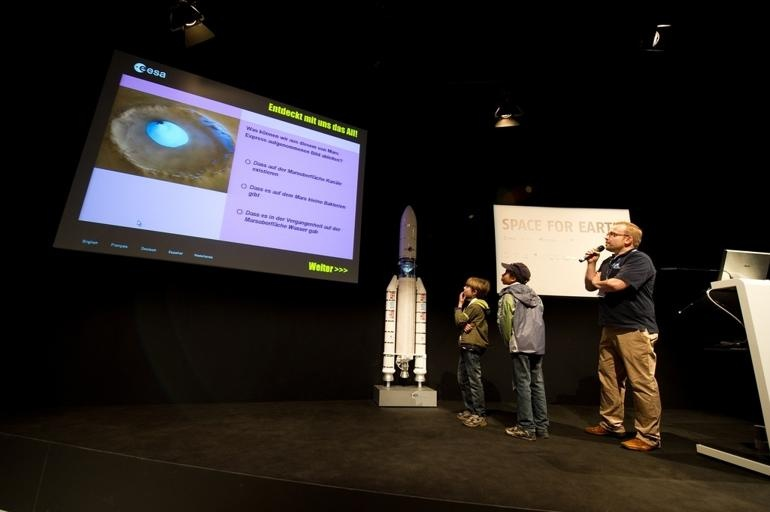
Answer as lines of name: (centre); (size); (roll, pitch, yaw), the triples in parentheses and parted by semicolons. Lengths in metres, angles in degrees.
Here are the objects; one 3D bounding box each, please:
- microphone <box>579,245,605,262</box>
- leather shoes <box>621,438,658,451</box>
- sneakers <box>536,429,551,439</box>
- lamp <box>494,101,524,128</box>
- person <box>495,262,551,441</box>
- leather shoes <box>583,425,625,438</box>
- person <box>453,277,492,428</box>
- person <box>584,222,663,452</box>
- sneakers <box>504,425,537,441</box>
microphone: (2.674, -0.037, 6.849); (0.330, 0.084, 0.085); (-31, 4, 10)
leather shoes: (2.746, 2.033, 5.756); (0.384, 0.125, 0.141); (3, -14, 1)
sneakers: (1.791, 2.009, 6.000); (0.077, 0.083, 0.205); (0, -13, 11)
lamp: (1.875, -2.062, 7.882); (0.451, 0.399, 0.413); (3, -1, 30)
person: (1.616, 1.060, 6.191); (0.563, 2.002, 0.446); (-1, -9, 21)
leather shoes: (2.567, 1.997, 6.175); (0.417, 0.153, 0.152); (3, -10, 26)
person: (1.116, 1.168, 6.814); (0.421, 1.839, 0.795); (1, -9, 9)
person: (2.699, 0.839, 6.041); (0.748, 2.540, 0.660); (-1, -9, 20)
sneakers: (1.536, 1.984, 6.020); (0.348, 0.147, 0.140); (4, -6, 37)
